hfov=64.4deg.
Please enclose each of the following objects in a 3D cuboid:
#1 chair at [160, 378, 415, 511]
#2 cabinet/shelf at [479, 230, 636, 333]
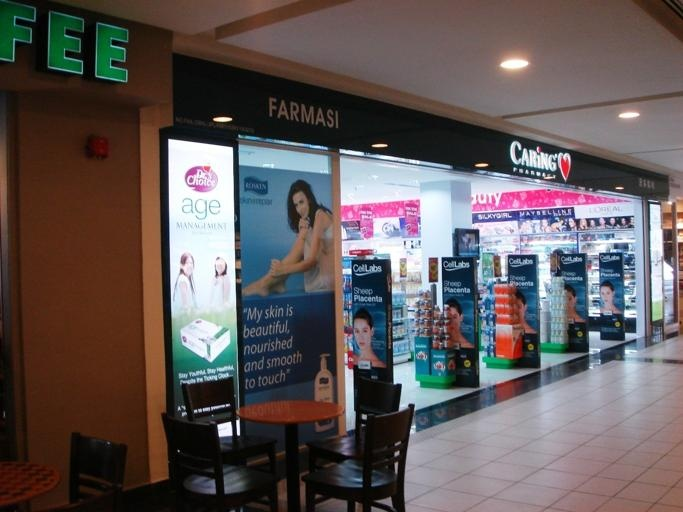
[{"bbox_3d":[-0.508,1.577,4.471,1.233,0.774,1.261,-3,-2,25],"label":"chair"},{"bbox_3d":[6.346,0.544,15.490,3.654,3.294,0.797,-2,0,35],"label":"cabinet/shelf"}]
